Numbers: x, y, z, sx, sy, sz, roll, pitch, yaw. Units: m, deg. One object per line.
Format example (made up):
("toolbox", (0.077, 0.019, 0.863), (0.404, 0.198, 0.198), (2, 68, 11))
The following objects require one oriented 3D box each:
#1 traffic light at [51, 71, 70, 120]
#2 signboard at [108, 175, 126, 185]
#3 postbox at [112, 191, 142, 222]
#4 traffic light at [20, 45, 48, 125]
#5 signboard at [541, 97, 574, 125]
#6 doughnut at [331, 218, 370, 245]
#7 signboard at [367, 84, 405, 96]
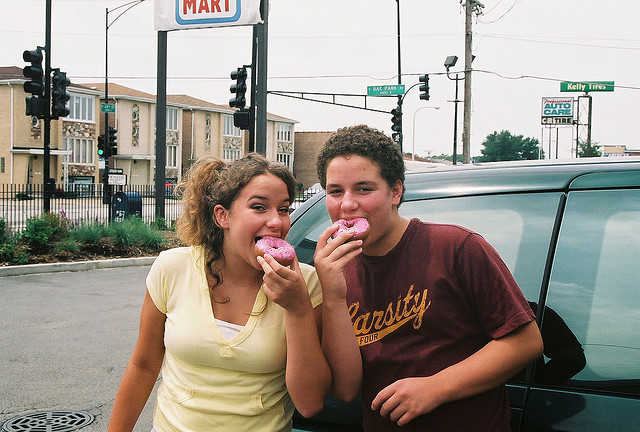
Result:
("traffic light", (-7.624, -3.585, 17.649), (0.501, 1.444, 1.116), (0, 5, -24))
("signboard", (-9.740, -1.758, 28.750), (0.871, 0.455, 0.581), (2, -19, -2))
("postbox", (-6.566, -0.299, 20.468), (0.730, 1.189, 0.774), (3, 3, 20))
("traffic light", (-7.686, -3.661, 16.271), (0.450, 1.830, 0.591), (7, 7, 44))
("signboard", (24.329, -10.767, 61.840), (3.377, 2.807, 0.342), (-2, 10, -6))
("doughnut", (0.145, 0.058, 2.874), (0.138, 0.047, 0.134), (-38, 30, -27))
("signboard", (3.018, -5.742, 27.481), (1.958, 0.477, 0.759), (4, 5, 34))
